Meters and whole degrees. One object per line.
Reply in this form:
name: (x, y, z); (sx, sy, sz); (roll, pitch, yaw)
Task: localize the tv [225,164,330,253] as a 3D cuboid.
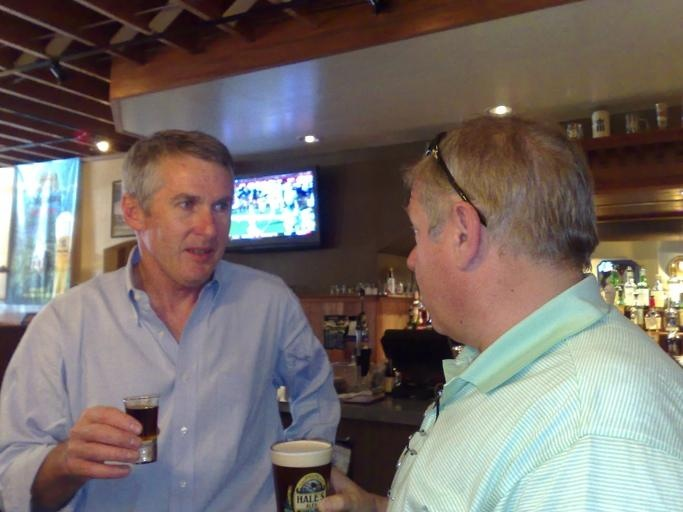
tv: (-0.657, -0.511, 6.350); (1.128, 0.801, 0.157); (-1, -5, 24)
